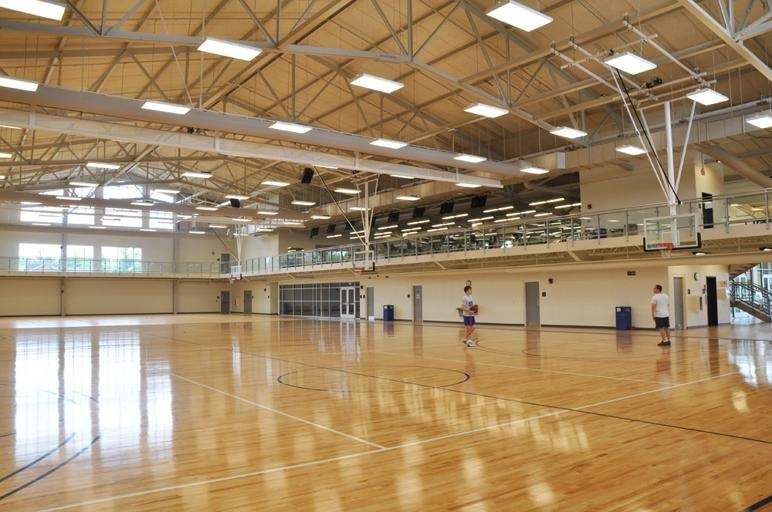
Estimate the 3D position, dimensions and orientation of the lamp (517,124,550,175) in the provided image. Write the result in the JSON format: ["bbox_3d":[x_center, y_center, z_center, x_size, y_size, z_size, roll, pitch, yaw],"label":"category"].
[{"bbox_3d":[6.458,-4.641,24.148,0.844,2.117,2.903,-5,4,-12],"label":"lamp"}]

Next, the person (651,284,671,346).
[{"bbox_3d":[8.930,1.911,17.955,0.431,1.908,1.592,-4,-3,27],"label":"person"}]

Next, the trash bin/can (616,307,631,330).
[{"bbox_3d":[10.134,2.640,23.542,0.667,0.985,0.366,-3,-3,13],"label":"trash bin/can"}]

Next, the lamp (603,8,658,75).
[{"bbox_3d":[5.935,-4.867,13.609,1.172,0.574,0.625,0,-3,-34],"label":"lamp"}]

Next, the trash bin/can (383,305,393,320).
[{"bbox_3d":[0.095,3.466,33.566,0.619,0.887,0.522,-4,-3,24],"label":"trash bin/can"}]
